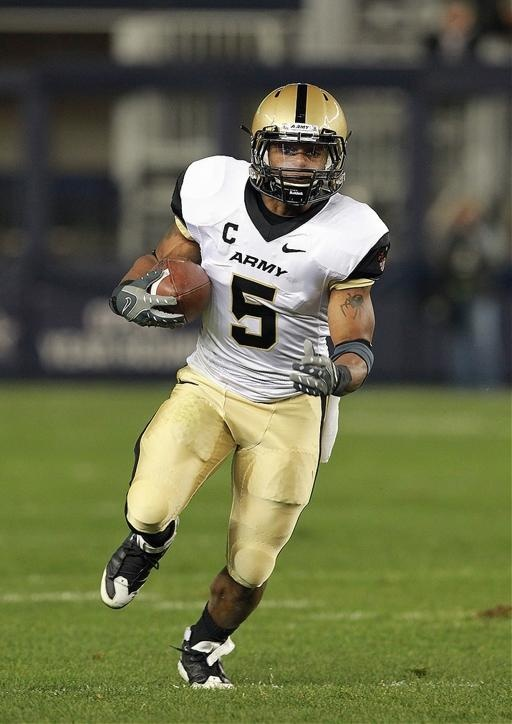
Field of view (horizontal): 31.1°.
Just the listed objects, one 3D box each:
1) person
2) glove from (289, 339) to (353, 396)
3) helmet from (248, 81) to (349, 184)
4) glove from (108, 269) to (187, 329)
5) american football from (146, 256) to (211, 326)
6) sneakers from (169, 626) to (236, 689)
[{"bbox_3d":[-0.027,0.056,2.536,0.767,1.658,0.568,1,10,6],"label":"person"},{"bbox_3d":[0.135,0.042,2.013,0.105,0.117,0.065,-11,18,-30],"label":"glove"},{"bbox_3d":[0.130,-0.644,2.654,0.301,0.269,0.329,2,24,-1],"label":"helmet"},{"bbox_3d":[-0.289,-0.170,2.489,0.159,0.152,0.231,-5,10,-28],"label":"glove"},{"bbox_3d":[-0.185,-0.204,2.559,0.166,0.131,0.191,8,-2,18],"label":"american football"},{"bbox_3d":[-0.137,0.862,2.621,0.124,0.143,0.227,3,-24,-23],"label":"sneakers"}]
